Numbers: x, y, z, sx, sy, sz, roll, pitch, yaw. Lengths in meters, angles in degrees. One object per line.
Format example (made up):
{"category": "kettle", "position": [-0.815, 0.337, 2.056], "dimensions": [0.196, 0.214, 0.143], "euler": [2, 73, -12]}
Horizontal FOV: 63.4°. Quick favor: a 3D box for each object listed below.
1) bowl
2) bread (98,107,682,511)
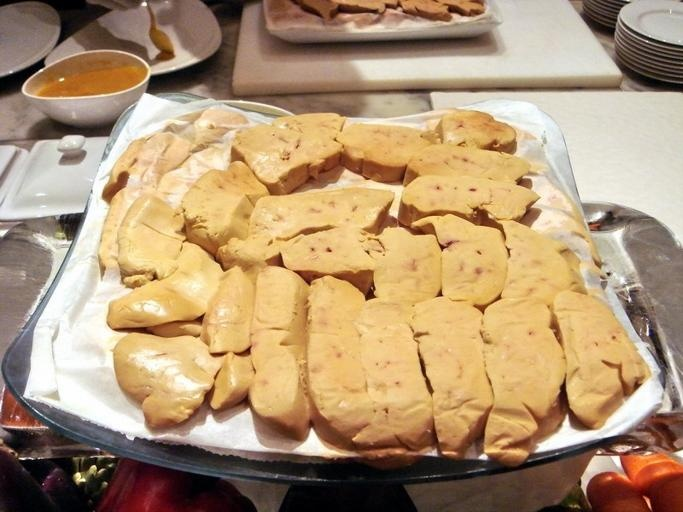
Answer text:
{"category": "bowl", "position": [-0.769, -0.507, 1.788], "dimensions": [0.367, 0.130, 0.259], "euler": [-9, 56, -8]}
{"category": "bread", "position": [-0.016, 0.077, 1.063], "dimensions": [1.025, 0.173, 0.678], "euler": [2, 51, -3]}
